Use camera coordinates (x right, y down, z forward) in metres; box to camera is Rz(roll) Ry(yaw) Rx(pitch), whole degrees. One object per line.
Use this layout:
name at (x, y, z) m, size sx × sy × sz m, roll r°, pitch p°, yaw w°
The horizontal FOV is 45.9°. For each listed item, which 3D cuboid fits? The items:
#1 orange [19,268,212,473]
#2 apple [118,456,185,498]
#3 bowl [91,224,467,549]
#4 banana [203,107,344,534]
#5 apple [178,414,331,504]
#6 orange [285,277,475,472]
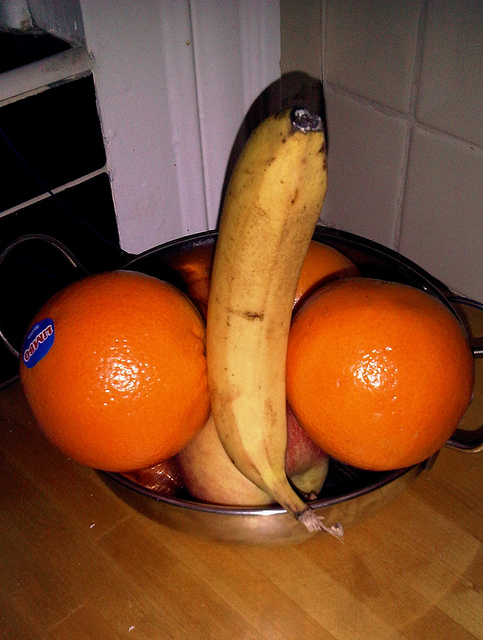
orange at (-0.069, 0.028, 0.374) m, size 0.111 × 0.119 × 0.111 m, roll -19°, pitch -12°, yaw 8°
apple at (-0.056, 0.109, 0.397) m, size 0.028 × 0.019 × 0.030 m, roll 0°, pitch 7°, yaw 0°
bowl at (0.080, 0.071, 0.719) m, size 0.399 × 0.220 × 0.611 m, roll -6°, pitch 1°, yaw -26°
banana at (0.038, 0.023, 0.359) m, size 0.056 × 0.289 × 0.092 m, roll -16°, pitch 25°, yaw -32°
apple at (0.013, 0.093, 0.403) m, size 0.082 × 0.071 × 0.072 m, roll 20°, pitch -5°, yaw 18°
orange at (0.077, 0.030, 0.370) m, size 0.109 × 0.105 × 0.112 m, roll -26°, pitch 66°, yaw -2°
